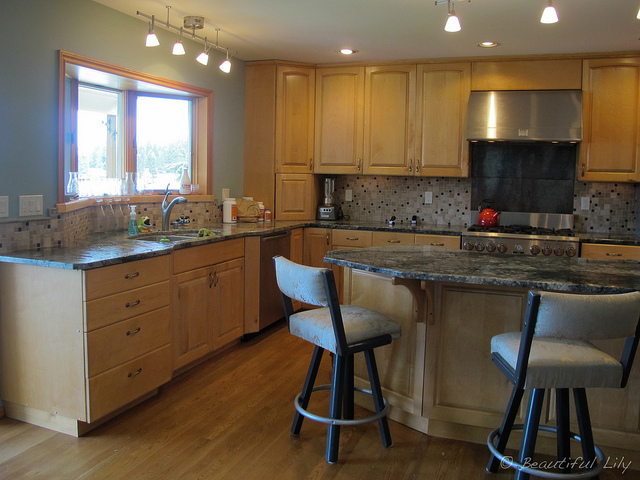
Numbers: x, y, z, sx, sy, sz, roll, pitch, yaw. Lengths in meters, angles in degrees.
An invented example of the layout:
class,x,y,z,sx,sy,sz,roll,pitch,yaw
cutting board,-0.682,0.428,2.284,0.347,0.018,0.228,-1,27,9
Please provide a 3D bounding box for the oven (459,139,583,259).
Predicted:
class,x,y,z,sx,sy,sz,roll,pitch,yaw
oven,1.944,-0.455,4.787,1.094,1.033,0.982,5,13,23

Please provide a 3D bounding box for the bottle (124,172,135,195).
class,x,y,z,sx,sy,sz,roll,pitch,yaw
bottle,-1.645,-0.479,4.216,0.051,0.182,0.104,10,16,40

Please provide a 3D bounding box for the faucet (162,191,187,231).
class,x,y,z,sx,sy,sz,roll,pitch,yaw
faucet,-1.277,-0.245,4.271,0.198,0.290,0.423,-4,13,-18

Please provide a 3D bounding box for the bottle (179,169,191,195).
class,x,y,z,sx,sy,sz,roll,pitch,yaw
bottle,-1.292,-0.550,4.672,0.113,0.230,0.075,-7,14,-30

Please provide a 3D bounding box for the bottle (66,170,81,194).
class,x,y,z,sx,sy,sz,roll,pitch,yaw
bottle,-1.807,-0.423,3.594,0.080,0.165,0.154,-5,13,-21

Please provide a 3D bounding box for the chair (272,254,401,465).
class,x,y,z,sx,sy,sz,roll,pitch,yaw
chair,0.093,0.661,2.920,0.658,1.129,0.695,3,8,27

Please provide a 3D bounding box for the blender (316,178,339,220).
class,x,y,z,sx,sy,sz,roll,pitch,yaw
blender,0.082,-0.462,5.560,0.236,0.469,0.402,1,12,5

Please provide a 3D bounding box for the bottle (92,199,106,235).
class,x,y,z,sx,sy,sz,roll,pitch,yaw
bottle,-1.765,-0.185,3.944,0.123,0.237,0.019,0,4,-31

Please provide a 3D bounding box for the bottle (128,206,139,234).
class,x,y,z,sx,sy,sz,roll,pitch,yaw
bottle,-1.516,-0.171,3.979,0.076,0.213,0.236,-5,13,-21

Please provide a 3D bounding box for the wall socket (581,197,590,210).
class,x,y,z,sx,sy,sz,roll,pitch,yaw
wall socket,2.688,-0.371,5.011,0.082,0.122,0.013,2,12,7

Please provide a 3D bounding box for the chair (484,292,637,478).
class,x,y,z,sx,sy,sz,roll,pitch,yaw
chair,1.179,0.755,2.505,0.615,1.170,0.607,4,13,15

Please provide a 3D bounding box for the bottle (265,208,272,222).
class,x,y,z,sx,sy,sz,roll,pitch,yaw
bottle,-0.551,-0.258,5.201,0.076,0.122,0.231,-1,13,-7

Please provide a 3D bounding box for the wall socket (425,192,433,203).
class,x,y,z,sx,sy,sz,roll,pitch,yaw
wall socket,1.188,-0.471,5.410,0.109,0.163,0.018,1,4,12

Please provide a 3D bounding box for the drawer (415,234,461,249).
class,x,y,z,sx,sy,sz,roll,pitch,yaw
drawer,1.129,0.010,4.794,0.427,0.113,0.042,4,13,17

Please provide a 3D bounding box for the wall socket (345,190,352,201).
class,x,y,z,sx,sy,sz,roll,pitch,yaw
wall socket,0.324,-0.514,5.681,0.074,0.124,0.015,3,12,13

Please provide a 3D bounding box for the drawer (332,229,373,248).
class,x,y,z,sx,sy,sz,roll,pitch,yaw
drawer,0.320,-0.012,5.034,0.432,0.183,0.038,5,13,19

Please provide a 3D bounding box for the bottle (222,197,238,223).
class,x,y,z,sx,sy,sz,roll,pitch,yaw
bottle,-0.917,-0.292,4.952,0.133,0.229,0.094,-3,13,-16
